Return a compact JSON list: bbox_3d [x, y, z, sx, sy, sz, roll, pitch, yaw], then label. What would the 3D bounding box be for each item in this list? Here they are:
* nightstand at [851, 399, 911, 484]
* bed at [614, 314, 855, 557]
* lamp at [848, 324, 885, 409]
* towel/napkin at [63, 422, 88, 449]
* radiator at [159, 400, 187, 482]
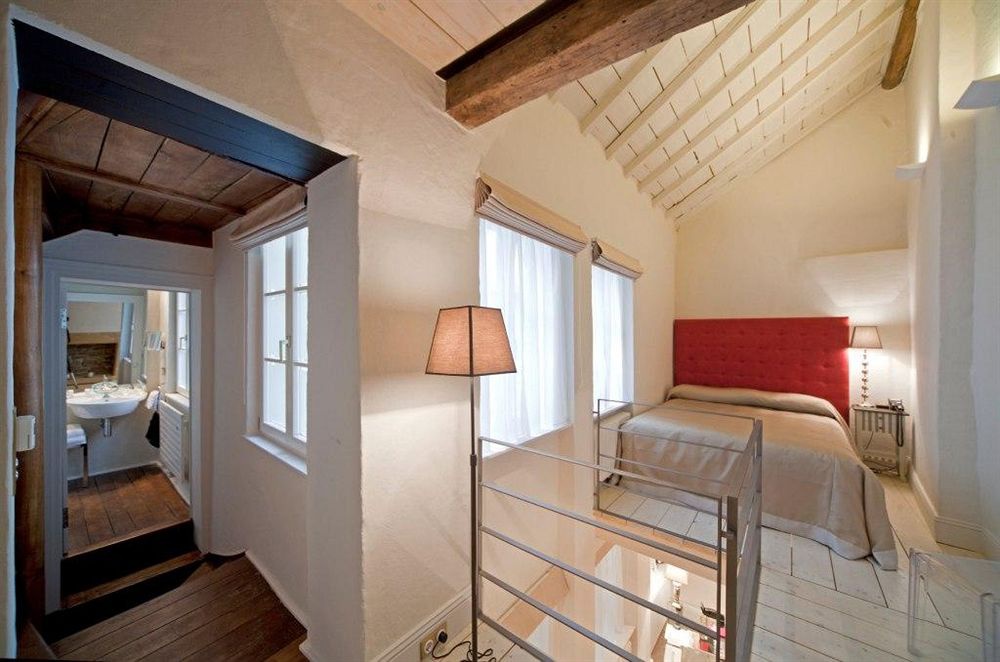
[{"bbox_3d":[3.959,1.125,6.557,0.667,0.937,0.691,0,-1,-45],"label":"nightstand"},{"bbox_3d":[2.358,0.651,6.315,2.127,1.274,2.245,0,9,24],"label":"bed"},{"bbox_3d":[3.782,0.347,6.432,0.290,0.835,0.258,0,0,29],"label":"lamp"},{"bbox_3d":[-4.022,1.008,5.935,0.155,0.249,0.494,-1,0,-34],"label":"towel/napkin"},{"bbox_3d":[-3.055,1.013,5.839,0.061,0.554,0.774,-1,4,-36],"label":"radiator"}]
